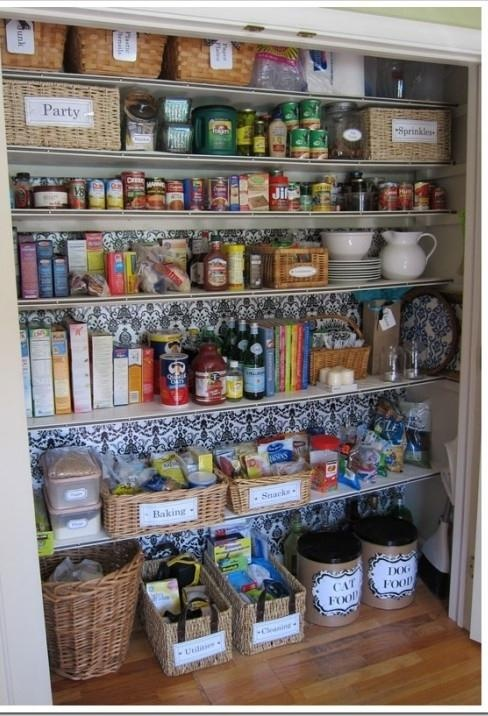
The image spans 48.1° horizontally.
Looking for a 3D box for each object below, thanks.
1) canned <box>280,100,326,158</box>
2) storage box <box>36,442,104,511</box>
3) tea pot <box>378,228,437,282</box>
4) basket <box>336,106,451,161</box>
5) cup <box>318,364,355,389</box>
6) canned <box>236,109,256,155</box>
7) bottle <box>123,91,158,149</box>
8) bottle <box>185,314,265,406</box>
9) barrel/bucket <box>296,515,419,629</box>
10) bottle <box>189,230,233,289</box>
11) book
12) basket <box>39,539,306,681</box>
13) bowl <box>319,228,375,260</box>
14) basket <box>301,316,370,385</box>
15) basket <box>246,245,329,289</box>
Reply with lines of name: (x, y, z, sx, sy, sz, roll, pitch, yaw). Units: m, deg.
canned: (0.222, -0.841, 2.063, 0.166, 0.210, 0.141, 1, 5, 13)
storage box: (-0.593, 0.401, 1.870, 0.143, 0.115, 0.233, -3, 9, -22)
tea pot: (0.747, -0.446, 2.368, 0.261, 0.225, 0.201, -5, 12, -18)
basket: (0.569, -0.892, 2.162, 0.266, 0.131, 0.153, -3, 13, -18)
cup: (0.381, 0.071, 2.279, 0.101, 0.055, 0.100, 1, 4, 0)
canned: (0.004, -0.816, 1.988, 0.069, 0.161, 0.046, 0, 5, 1)
bottle: (-0.335, -0.760, 1.770, 0.113, 0.193, 0.058, -1, 5, -16)
bottle: (-0.058, 0.034, 2.077, 0.361, 0.382, 0.212, -1, 5, -20)
barrel/bucket: (0.460, 0.838, 2.258, 0.557, 0.355, 0.322, -5, 13, -17)
bottle: (-0.152, -0.358, 2.050, 0.104, 0.218, 0.237, -5, 7, -42)
book: (0.131, -0.008, 2.321, 0.251, 0.333, 0.341, -1, 4, -10)
basket: (-0.261, 0.877, 1.993, 0.827, 0.329, 0.451, -6, 16, -24)
bowl: (0.423, -0.445, 2.218, 0.146, 0.080, 0.146, -1, 9, 0)
basket: (0.413, -0.043, 2.425, 0.355, 0.313, 0.241, -4, 9, -29)
basket: (0.189, -0.346, 2.159, 0.216, 0.138, 0.218, 0, 13, -4)
